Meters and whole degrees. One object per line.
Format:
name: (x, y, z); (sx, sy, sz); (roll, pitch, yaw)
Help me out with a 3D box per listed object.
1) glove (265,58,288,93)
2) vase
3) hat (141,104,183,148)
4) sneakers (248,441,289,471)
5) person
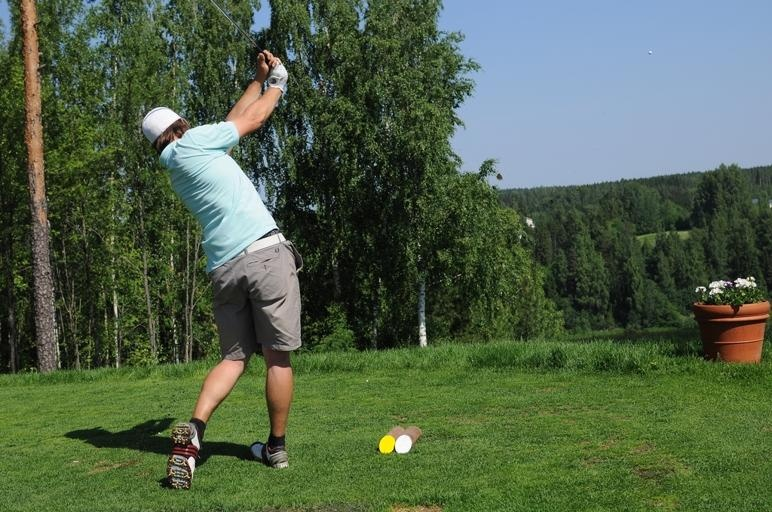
glove: (-1.215, -1.977, 7.695); (0.238, 0.321, 0.175); (9, 4, 22)
vase: (5.018, 1.117, 10.065); (0.862, 0.703, 0.907); (-1, -8, 1)
hat: (-2.386, -1.390, 7.579); (0.319, 0.348, 0.435); (-46, -5, 4)
sneakers: (-1.190, 2.003, 7.140); (0.456, 0.212, 0.172); (15, 8, 40)
person: (-1.554, 0.238, 7.226); (1.356, 3.778, 0.997); (-4, 6, -9)
